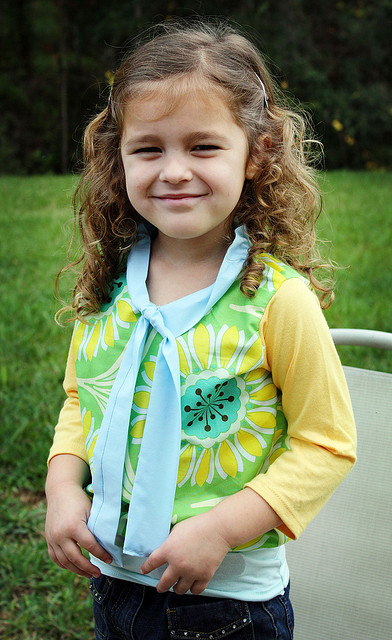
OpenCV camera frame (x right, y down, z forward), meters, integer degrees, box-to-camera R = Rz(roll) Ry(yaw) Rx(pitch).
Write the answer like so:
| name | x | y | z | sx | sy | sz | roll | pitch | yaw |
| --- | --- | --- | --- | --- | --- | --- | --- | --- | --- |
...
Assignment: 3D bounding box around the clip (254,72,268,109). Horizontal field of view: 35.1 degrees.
| name | x | y | z | sx | sy | sz | roll | pitch | yaw |
| --- | --- | --- | --- | --- | --- | --- | --- | --- | --- |
| clip | 0.127 | -0.445 | 1.200 | 0.019 | 0.061 | 0.028 | 9 | 19 | 29 |
